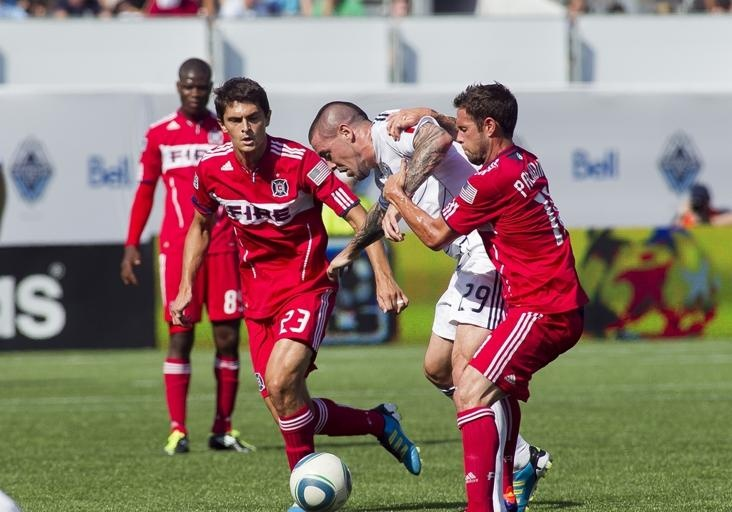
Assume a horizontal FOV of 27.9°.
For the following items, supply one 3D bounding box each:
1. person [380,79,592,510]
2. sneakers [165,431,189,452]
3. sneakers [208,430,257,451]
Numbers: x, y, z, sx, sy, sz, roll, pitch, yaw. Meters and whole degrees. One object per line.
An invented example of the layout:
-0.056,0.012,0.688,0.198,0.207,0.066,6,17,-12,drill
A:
0.909,0.256,10.046,1.082,2.838,0.650,-3,7,-22,person
-1.501,1.463,11.594,0.123,0.148,0.211,1,-17,-1,sneakers
-1.091,1.469,11.768,0.415,0.196,0.144,3,-5,6,sneakers
